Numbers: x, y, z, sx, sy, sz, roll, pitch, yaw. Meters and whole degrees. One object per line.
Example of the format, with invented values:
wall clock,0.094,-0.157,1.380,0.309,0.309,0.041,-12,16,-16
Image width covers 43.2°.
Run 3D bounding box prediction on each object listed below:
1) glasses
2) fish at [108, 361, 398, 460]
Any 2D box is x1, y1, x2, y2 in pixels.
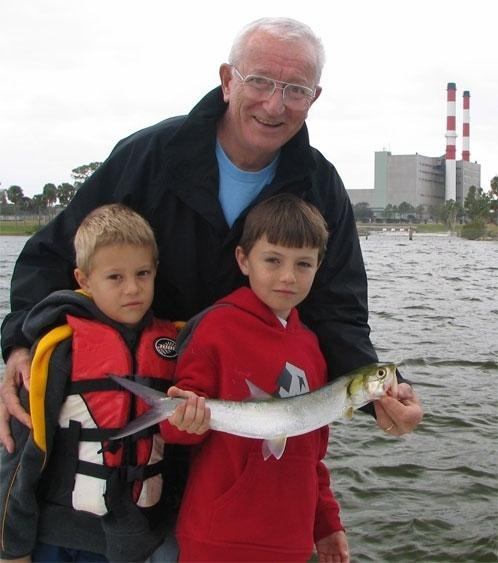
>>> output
glasses,0.112,-0.971,3.162,0.404,0.198,0.155,4,11,-1
fish,0.036,0.514,2.536,1.144,0.301,0.123,1,8,-22
